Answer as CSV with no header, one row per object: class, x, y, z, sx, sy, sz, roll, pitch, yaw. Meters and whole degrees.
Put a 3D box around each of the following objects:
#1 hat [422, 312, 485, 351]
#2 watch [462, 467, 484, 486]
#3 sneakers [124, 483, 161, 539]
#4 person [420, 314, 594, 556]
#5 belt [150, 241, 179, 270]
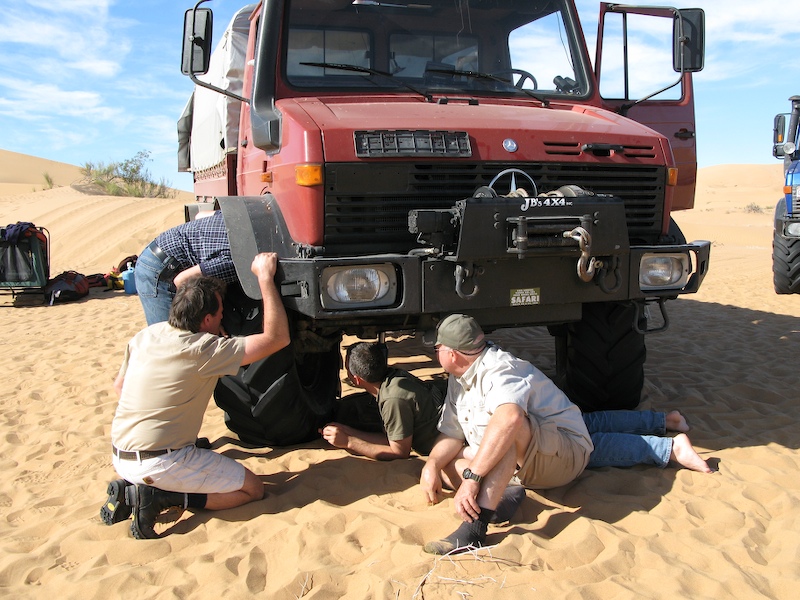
hat,0.326,0.195,3.521,0.295,0.163,0.184,19,26,37
watch,0.401,0.991,3.148,0.121,0.068,0.108,13,-24,1
sneakers,-1.565,1.287,3.505,0.188,0.309,0.282,-8,12,-27
person,0.495,0.754,3.953,1.360,1.442,1.039,-8,-2,-7
belt,-1.871,-0.349,4.555,0.223,0.080,0.190,39,-3,7
